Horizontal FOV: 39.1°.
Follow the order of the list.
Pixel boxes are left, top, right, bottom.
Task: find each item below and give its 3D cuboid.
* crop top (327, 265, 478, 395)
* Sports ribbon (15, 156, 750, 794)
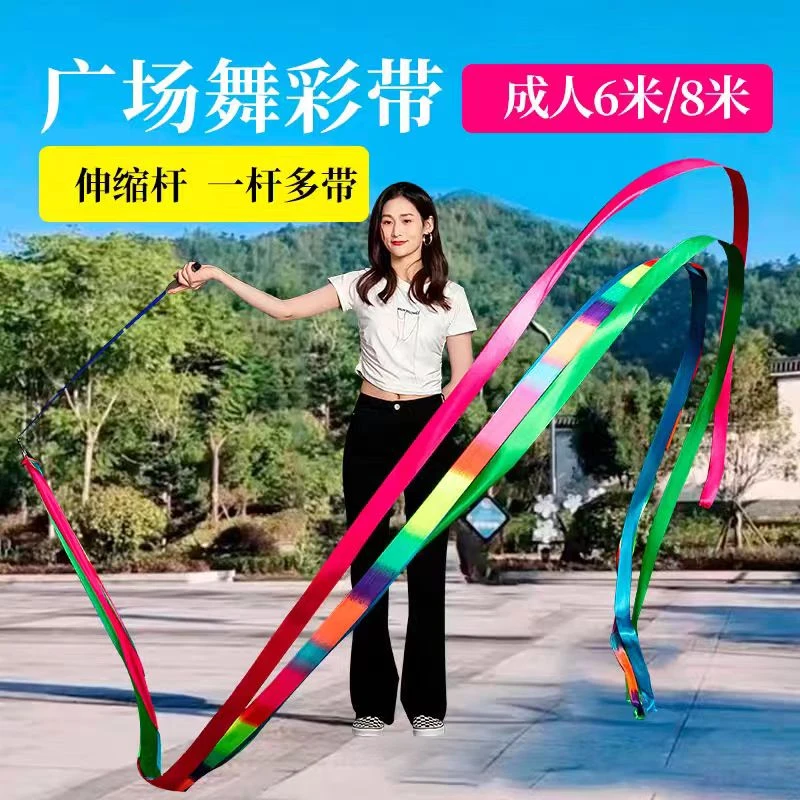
[{"bbox_3d":[-0.054,-0.293,4.638,0.718,0.502,0.238,7,11,3],"label":"crop top"},{"bbox_3d":[0.229,0.297,5.253,3.405,2.796,2.046,-1,1,-30],"label":"Sports ribbon"}]
